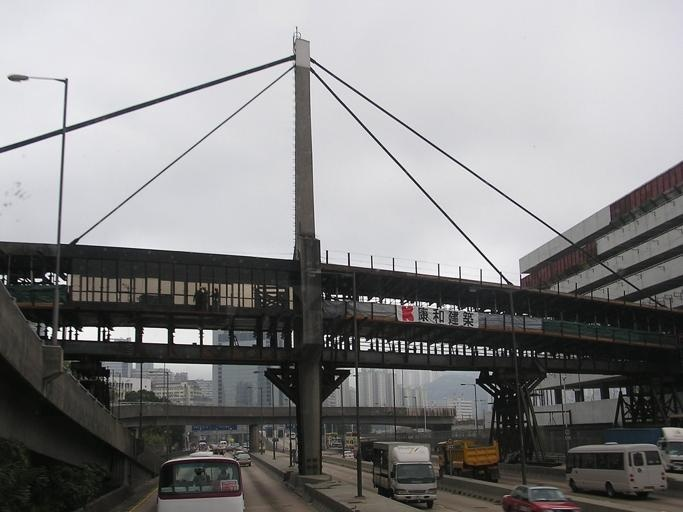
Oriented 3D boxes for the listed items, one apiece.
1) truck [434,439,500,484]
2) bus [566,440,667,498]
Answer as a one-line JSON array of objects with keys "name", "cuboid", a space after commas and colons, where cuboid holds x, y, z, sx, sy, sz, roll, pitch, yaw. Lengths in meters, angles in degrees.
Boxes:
[{"name": "truck", "cuboid": [10.492, 17.155, 75.017, 4.823, 3.898, 6.651, 5, -16, -18]}, {"name": "bus", "cuboid": [19.348, 15.219, 62.675, 3.433, 3.126, 6.753, 8, -19, -18]}]
